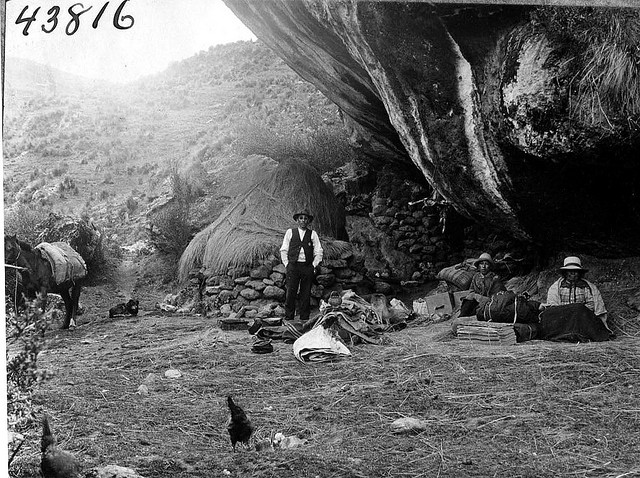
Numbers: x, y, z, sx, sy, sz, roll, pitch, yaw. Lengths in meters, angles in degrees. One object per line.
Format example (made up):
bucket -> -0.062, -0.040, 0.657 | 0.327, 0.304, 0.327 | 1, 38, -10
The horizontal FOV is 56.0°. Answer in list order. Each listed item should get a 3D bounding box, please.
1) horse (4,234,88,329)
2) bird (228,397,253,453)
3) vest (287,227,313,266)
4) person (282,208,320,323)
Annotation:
horse -> -2.437, 0.368, 5.313 | 0.354, 0.807, 0.897 | -2, -14, 6
bird -> -0.532, 1.231, 4.000 | 0.184, 0.335, 0.180 | 4, -14, -16
vest -> -0.216, 0.085, 6.631 | 0.277, 0.398, 0.079 | 2, -14, -8
person -> -0.227, 0.318, 6.678 | 0.413, 1.143, 0.546 | 4, -14, -16
